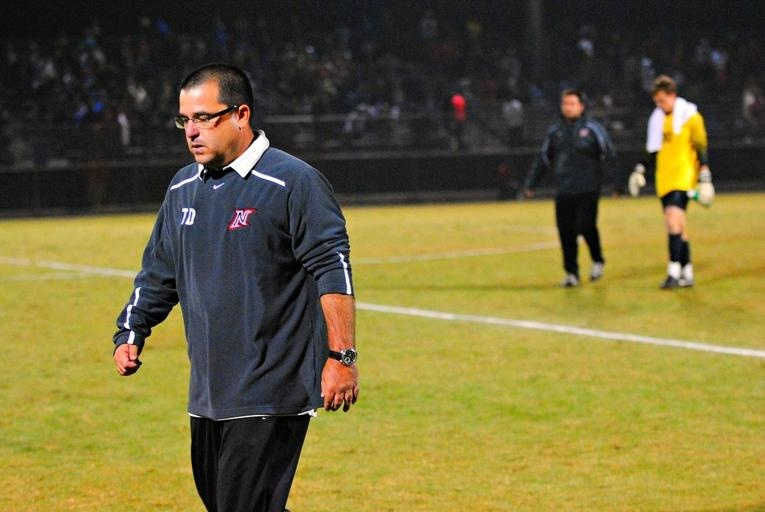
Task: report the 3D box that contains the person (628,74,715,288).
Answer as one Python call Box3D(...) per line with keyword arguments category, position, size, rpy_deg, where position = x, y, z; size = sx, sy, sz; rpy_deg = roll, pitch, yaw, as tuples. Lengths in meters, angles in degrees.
Box3D(category="person", position=(2.397, -0.648, 10.423), size=(0.659, 1.645, 1.044), rpy_deg=(3, 15, 15))

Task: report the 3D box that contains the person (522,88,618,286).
Box3D(category="person", position=(1.476, -0.536, 9.961), size=(0.679, 1.559, 0.266), rpy_deg=(1, 15, 11))

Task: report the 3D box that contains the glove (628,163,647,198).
Box3D(category="glove", position=(2.164, -0.636, 10.582), size=(0.166, 0.278, 0.101), rpy_deg=(2, -21, 26))
